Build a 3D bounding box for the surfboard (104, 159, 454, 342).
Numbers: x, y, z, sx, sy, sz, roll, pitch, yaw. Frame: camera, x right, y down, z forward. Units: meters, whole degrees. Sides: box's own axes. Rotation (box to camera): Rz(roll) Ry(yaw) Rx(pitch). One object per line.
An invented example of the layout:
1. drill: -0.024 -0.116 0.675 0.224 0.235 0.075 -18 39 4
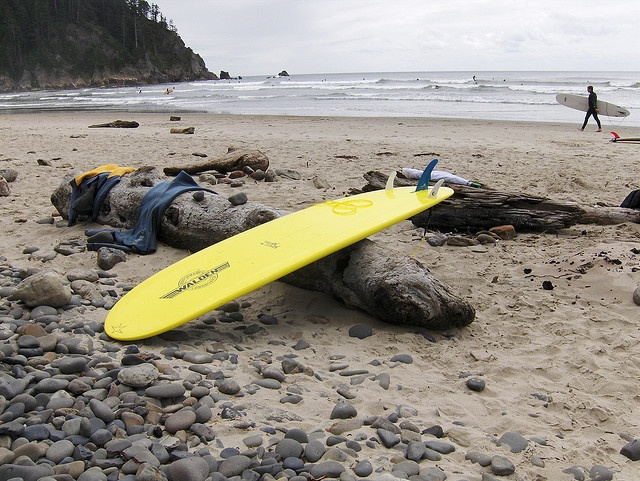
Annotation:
1. surfboard: 0.274 -0.070 6.282 5.245 0.829 1.011 -15 33 -22
